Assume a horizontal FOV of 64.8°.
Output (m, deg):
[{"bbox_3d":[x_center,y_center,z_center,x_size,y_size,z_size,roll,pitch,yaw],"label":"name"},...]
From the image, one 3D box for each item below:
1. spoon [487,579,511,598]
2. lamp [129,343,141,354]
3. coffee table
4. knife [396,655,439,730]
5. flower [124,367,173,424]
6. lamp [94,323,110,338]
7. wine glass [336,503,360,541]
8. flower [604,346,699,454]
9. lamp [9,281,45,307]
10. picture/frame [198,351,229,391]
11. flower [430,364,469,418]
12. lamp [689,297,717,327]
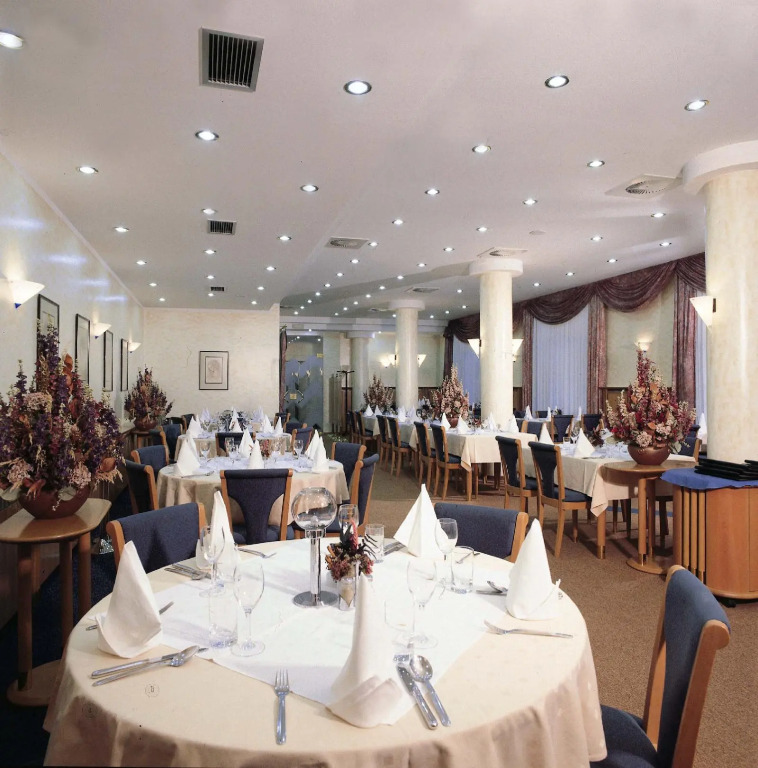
[{"bbox_3d":[0.391,0.681,1.985,0.047,0.025,0.068,4,-2,-28],"label":"spoon"},{"bbox_3d":[-4.428,-0.631,10.962,0.195,0.205,0.195,2,4,41],"label":"lamp"},{"bbox_3d":[-1.545,1.014,2.832,0.322,0.781,0.712,1,7,-6],"label":"coffee table"},{"bbox_3d":[0.084,0.709,1.397,0.029,0.023,0.233,4,6,-12],"label":"knife"},{"bbox_3d":[-3.799,0.234,10.174,0.785,1.357,0.809,-2,-2,38],"label":"flower"},{"bbox_3d":[-3.461,-0.683,7.555,0.155,0.180,0.184,0,-3,-23],"label":"lamp"},{"bbox_3d":[-0.101,0.454,2.026,0.080,0.174,0.098,-1,0,-2],"label":"wine glass"},{"bbox_3d":[2.369,0.164,5.184,0.636,1.165,0.815,-1,-5,-5],"label":"flower"},{"bbox_3d":[-2.652,-0.695,4.543,0.165,0.182,0.179,-2,2,-21],"label":"lamp"},{"bbox_3d":[-3.558,-0.293,12.935,0.637,1.160,0.038,0,-1,-25],"label":"picture/frame"},{"bbox_3d":[1.115,0.144,9.438,0.554,1.070,0.659,1,-5,3],"label":"flower"},{"bbox_3d":[2.622,-0.603,4.913,0.130,0.254,0.232,0,1,13],"label":"lamp"}]
